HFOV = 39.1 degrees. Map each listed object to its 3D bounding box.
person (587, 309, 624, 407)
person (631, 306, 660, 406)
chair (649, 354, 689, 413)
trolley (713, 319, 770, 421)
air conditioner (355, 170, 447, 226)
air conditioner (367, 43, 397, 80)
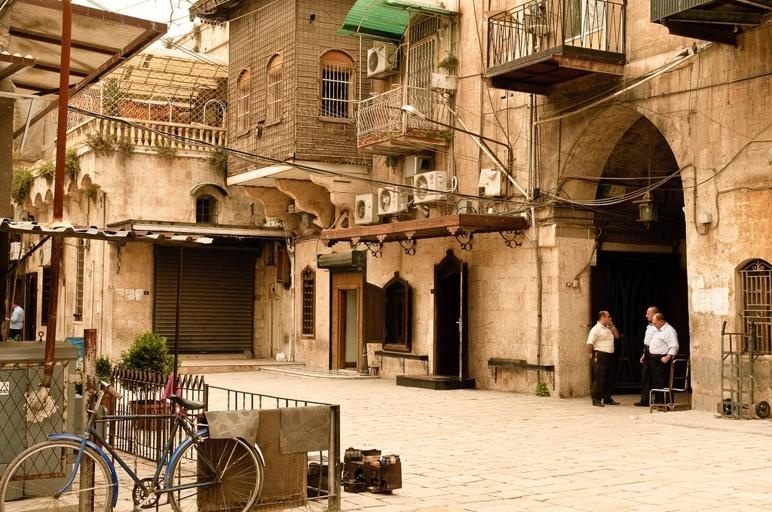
[{"bbox_3d":[4.965,2.350,25.019,0.608,2.203,0.586,-2,-9,10],"label":"person"},{"bbox_3d":[6.210,2.276,25.013,0.881,2.178,1.018,3,-6,-23],"label":"person"},{"bbox_3d":[6.314,2.875,24.396,0.571,1.040,0.757,12,19,10],"label":"chair"},{"bbox_3d":[7.332,2.341,22.531,1.039,2.030,0.718,-5,-10,27],"label":"trolley"},{"bbox_3d":[0.517,-1.579,29.597,0.790,1.017,3.405,7,-11,-38],"label":"air conditioner"},{"bbox_3d":[-0.088,-5.497,30.726,0.617,0.818,1.020,6,-9,-29],"label":"air conditioner"}]
